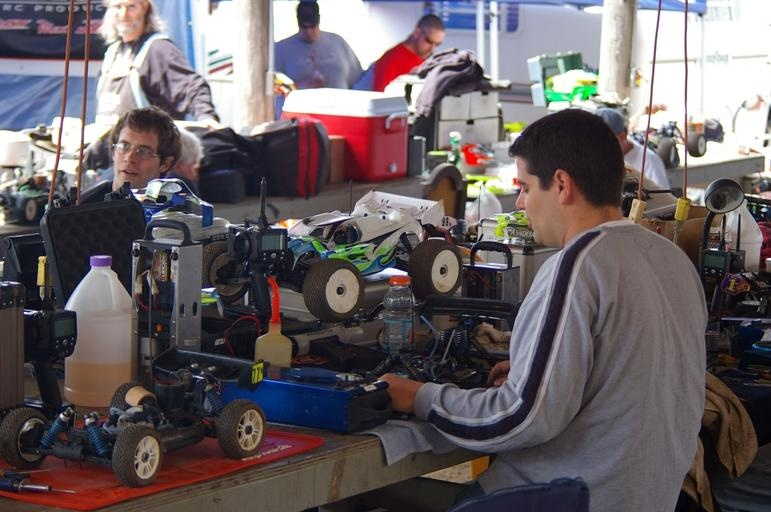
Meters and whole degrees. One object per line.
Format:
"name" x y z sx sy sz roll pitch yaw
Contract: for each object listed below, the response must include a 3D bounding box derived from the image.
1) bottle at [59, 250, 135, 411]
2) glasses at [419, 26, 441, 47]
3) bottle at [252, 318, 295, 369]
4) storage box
"bottle" -0.952 0.249 2.780 0.244 0.497 0.157 0 6 -7
"glasses" 0.554 -2.556 9.930 0.231 0.193 0.325 1 5 2
"bottle" -0.378 0.300 2.877 0.162 0.246 0.135 3 -4 -20
"storage box" -0.305 -0.948 6.673 0.938 0.635 0.561 10 16 32
